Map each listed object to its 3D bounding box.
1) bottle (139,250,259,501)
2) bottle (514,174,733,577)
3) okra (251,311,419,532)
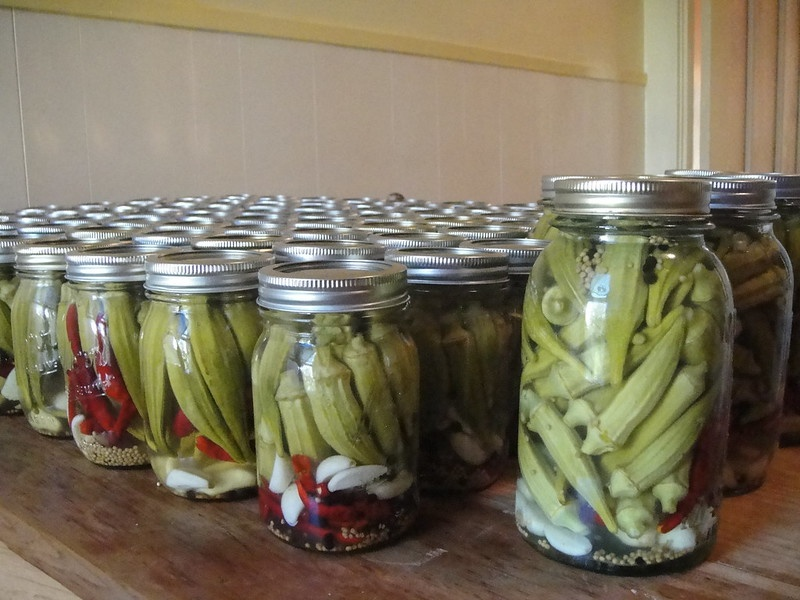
[{"bbox_3d":[-0.238,0.096,1.005,0.185,0.292,0.178,-1,10,0],"label":"bottle"},{"bbox_3d":[0.252,0.071,0.882,0.233,0.412,0.234,-1,9,0],"label":"bottle"},{"bbox_3d":[-0.069,0.126,0.854,0.184,0.240,0.095,-6,17,-10],"label":"okra"}]
